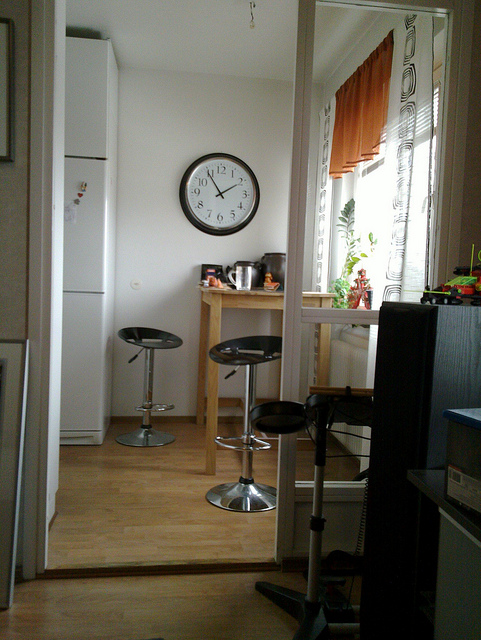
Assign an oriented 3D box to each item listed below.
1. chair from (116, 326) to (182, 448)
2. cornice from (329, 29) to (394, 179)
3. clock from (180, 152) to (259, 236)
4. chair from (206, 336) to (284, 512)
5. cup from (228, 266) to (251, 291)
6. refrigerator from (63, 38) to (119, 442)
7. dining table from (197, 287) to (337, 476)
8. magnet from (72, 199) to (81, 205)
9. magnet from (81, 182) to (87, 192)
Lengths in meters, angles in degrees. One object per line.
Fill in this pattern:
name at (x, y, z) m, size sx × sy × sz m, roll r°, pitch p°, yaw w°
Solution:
chair at (-0.621, 0.427, 3.932) m, size 0.418 × 0.724 × 0.652 m, roll 2°, pitch 5°, yaw -6°
cornice at (0.436, -0.733, 2.094) m, size 0.194 × 0.433 × 0.050 m, roll 4°, pitch 5°, yaw 16°
clock at (-0.149, -0.911, 4.198) m, size 0.575 × 0.578 × 0.070 m, roll -1°, pitch 10°, yaw -18°
chair at (0.019, 0.483, 3.147) m, size 0.375 × 0.778 × 0.910 m, roll 3°, pitch 5°, yaw 2°
cup at (-0.035, -0.283, 3.841) m, size 0.190 × 0.190 × 0.122 m, roll -1°, pitch 12°, yaw -7°
refrigerator at (-0.954, -0.453, 3.572) m, size 0.279 × 2.444 × 0.160 m, roll 1°, pitch 5°, yaw -20°
dining table at (-0.044, 0.301, 3.505) m, size 0.975 × 1.292 × 0.906 m, roll 2°, pitch 1°, yaw -3°
magnet at (-0.995, -0.717, 3.514) m, size 0.024 × 0.025 × 0.030 m, roll -1°, pitch -14°, yaw 9°
magnet at (-0.956, -0.810, 3.524) m, size 0.032 × 0.043 × 0.016 m, roll 2°, pitch 6°, yaw -35°
